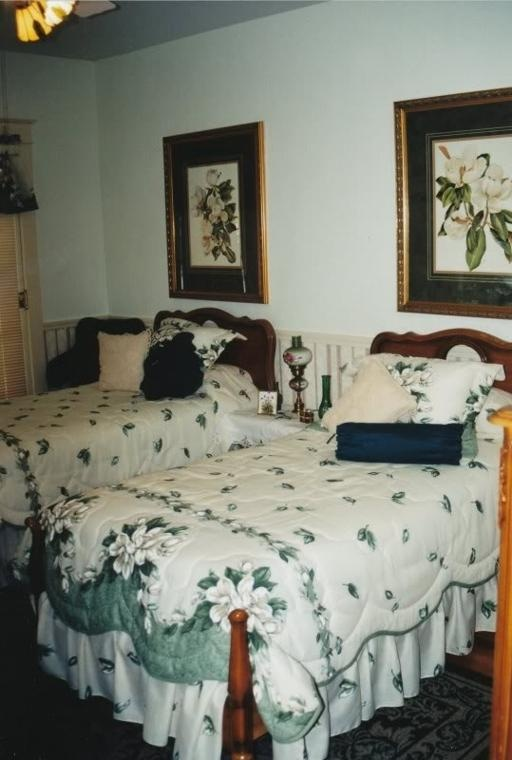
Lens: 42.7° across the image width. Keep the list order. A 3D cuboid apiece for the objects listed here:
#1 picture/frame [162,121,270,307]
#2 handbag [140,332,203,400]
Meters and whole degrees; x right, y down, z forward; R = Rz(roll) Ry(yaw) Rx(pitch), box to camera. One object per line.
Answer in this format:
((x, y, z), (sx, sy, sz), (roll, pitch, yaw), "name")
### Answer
((-0.295, -1.106, 4.414), (0.100, 1.141, 1.005), (-12, 15, -40), "picture/frame")
((-0.504, -0.055, 3.942), (0.385, 0.390, 0.133), (-6, -15, 30), "handbag")
